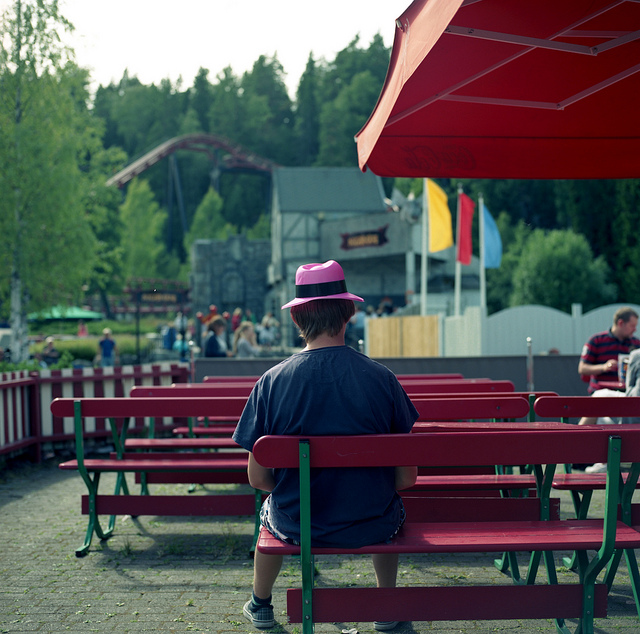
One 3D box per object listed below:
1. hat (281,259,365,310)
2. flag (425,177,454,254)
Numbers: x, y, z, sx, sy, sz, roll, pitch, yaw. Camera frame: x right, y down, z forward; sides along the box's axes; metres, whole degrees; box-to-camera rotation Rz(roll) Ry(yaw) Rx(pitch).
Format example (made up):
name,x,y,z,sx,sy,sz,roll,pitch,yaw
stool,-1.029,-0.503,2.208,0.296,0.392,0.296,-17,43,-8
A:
name,x,y,z,sx,sy,sz,roll,pitch,yaw
hat,0.008,-0.239,12.236,0.610,0.477,0.814,-7,-5,6
flag,1.895,-1.637,24.176,0.410,1.156,0.947,-1,2,3
